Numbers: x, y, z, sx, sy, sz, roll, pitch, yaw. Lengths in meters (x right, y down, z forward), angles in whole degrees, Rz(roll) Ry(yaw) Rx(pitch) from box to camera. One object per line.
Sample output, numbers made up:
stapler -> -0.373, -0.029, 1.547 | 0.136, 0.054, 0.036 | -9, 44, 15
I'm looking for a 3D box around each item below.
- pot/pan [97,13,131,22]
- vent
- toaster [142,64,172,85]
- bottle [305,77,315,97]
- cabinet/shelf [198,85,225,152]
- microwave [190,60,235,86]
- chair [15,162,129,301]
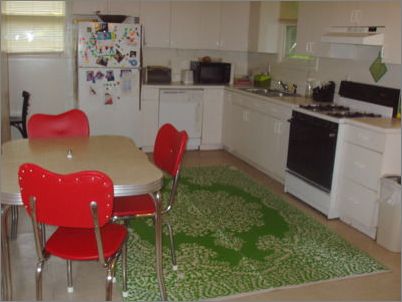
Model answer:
pot/pan -> -1.349, -2.005, 4.930 | 0.371, 0.139, 0.333 | -11, 22, -32
vent -> 1.664, -1.292, 3.613 | 0.183, 0.204, 0.772 | -5, 19, -18
toaster -> -0.753, -1.305, 5.667 | 0.494, 0.265, 0.508 | 1, 6, 12
bottle -> 1.558, -0.910, 4.661 | 0.106, 0.251, 0.151 | 8, 19, 20
cabinet/shelf -> 0.191, -0.616, 5.684 | 0.412, 0.966, 0.149 | -2, 18, -10
microwave -> 0.198, -1.359, 5.699 | 0.613, 0.403, 0.455 | -3, 17, -15
chair -> -0.720, 0.447, 1.900 | 0.500, 0.870, 0.398 | 0, 18, -3
